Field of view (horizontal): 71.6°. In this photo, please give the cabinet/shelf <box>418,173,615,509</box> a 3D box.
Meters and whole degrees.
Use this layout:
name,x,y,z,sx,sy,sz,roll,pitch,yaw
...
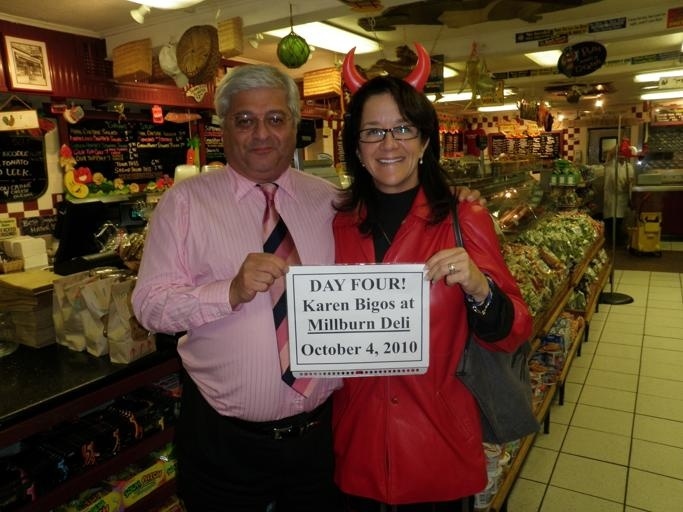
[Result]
name,x,y,z,sx,sy,sz,roll,pitch,yaw
cabinet/shelf,1.068,0.541,2.749,0.784,1.154,2.372,3,7,26

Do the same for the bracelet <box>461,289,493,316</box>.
name,x,y,z,sx,sy,sz,roll,pitch,yaw
bracelet,0.494,0.173,1.672,0.071,0.057,0.096,-2,0,9

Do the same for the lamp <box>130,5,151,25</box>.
name,x,y,z,sx,sy,sz,roll,pitch,yaw
lamp,-1.644,-1.969,3.869,0.120,0.189,0.358,-9,15,-22

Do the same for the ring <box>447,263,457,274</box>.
name,x,y,z,sx,sy,sz,roll,pitch,yaw
ring,0.377,0.046,1.611,0.025,0.037,0.006,0,15,12

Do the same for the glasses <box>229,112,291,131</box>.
name,x,y,z,sx,sy,sz,roll,pitch,yaw
glasses,-0.313,-0.523,1.856,0.211,0.066,0.040,-5,14,-9

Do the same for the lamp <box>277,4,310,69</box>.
name,x,y,z,sx,sy,sz,roll,pitch,yaw
lamp,-0.393,-1.796,3.858,0.262,0.559,0.641,-4,14,-5
